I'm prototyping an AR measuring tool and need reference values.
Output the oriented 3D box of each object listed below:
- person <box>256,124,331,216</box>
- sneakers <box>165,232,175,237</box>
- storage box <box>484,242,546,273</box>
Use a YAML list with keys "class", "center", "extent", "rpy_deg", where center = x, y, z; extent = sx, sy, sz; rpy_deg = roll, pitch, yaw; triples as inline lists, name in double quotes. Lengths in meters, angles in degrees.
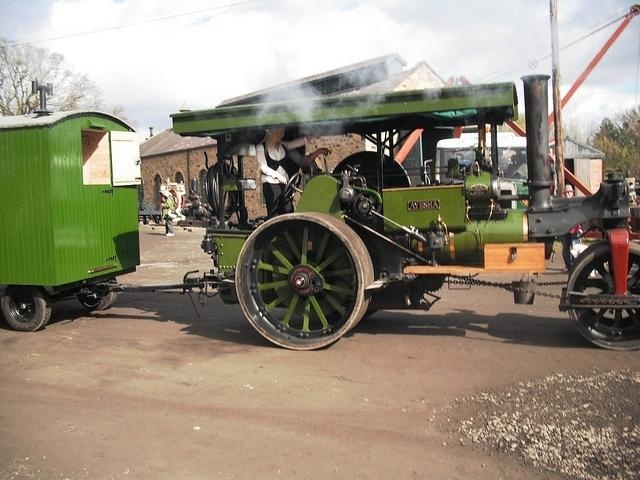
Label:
- class: "person"
  center: [-0.473, -0.947, 7.437]
  extent: [0.890, 1.241, 0.606]
  rpy_deg: [-6, 7, -40]
- class: "sneakers"
  center: [-7.021, -0.241, 24.393]
  extent: [0.233, 0.269, 0.550]
  rpy_deg: [-4, 8, -44]
- class: "storage box"
  center: [2.263, 0.214, 6.090]
  extent: [0.667, 0.343, 0.233]
  rpy_deg: [0, 6, 20]
